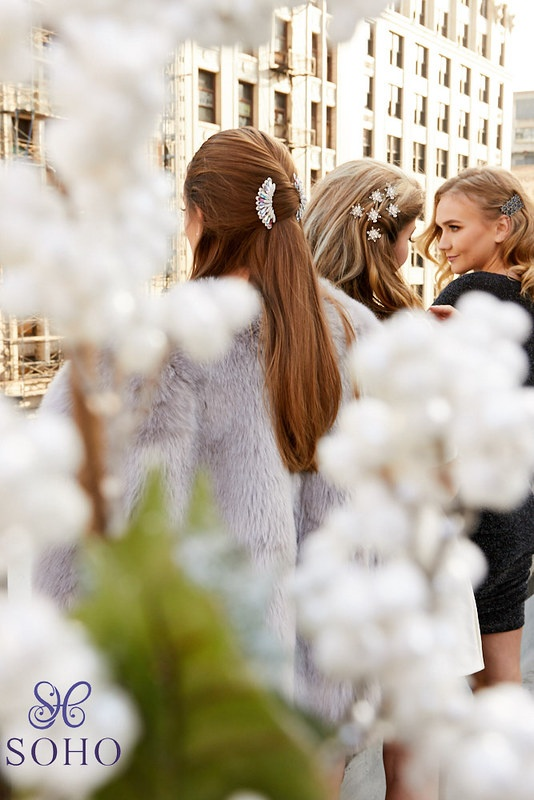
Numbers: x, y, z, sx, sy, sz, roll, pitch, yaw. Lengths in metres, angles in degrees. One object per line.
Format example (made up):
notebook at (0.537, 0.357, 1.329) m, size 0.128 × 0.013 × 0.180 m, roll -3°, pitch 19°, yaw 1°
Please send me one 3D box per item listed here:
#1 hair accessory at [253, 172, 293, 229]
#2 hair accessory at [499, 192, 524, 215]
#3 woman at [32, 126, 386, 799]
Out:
hair accessory at (0.001, -0.247, 1.402) m, size 0.006 × 0.055 × 0.049 m, roll 12°, pitch 16°, yaw 35°
hair accessory at (0.435, -0.356, 2.058) m, size 0.038 × 0.028 × 0.002 m, roll -34°, pitch -4°, yaw 12°
woman at (-0.074, 0.129, 1.505) m, size 0.487 × 0.919 × 0.398 m, roll -22°, pitch 28°, yaw -40°
